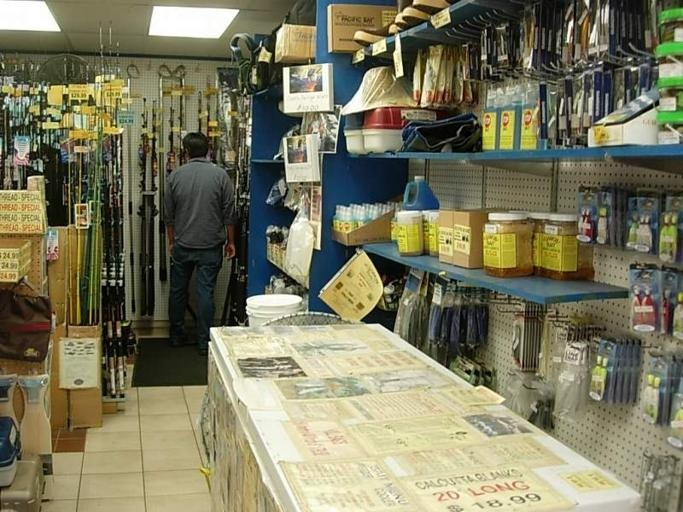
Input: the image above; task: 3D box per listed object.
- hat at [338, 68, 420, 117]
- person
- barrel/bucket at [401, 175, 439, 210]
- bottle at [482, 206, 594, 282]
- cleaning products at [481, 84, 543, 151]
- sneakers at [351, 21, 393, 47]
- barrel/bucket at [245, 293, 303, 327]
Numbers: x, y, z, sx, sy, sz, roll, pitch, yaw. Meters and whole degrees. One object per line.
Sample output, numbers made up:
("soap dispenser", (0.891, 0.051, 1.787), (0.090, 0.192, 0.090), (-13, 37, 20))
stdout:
("hat", (0.281, -0.929, 3.215), (0.396, 0.241, 0.562), (0, 8, 12))
("person", (-1.452, -0.002, 5.884), (0.676, 1.965, 0.332), (4, 10, 14))
("barrel/bucket", (0.414, -0.317, 2.982), (0.187, 0.183, 0.125), (-1, 1, -15))
("bottle", (0.764, -0.005, 2.233), (0.254, 0.237, 0.344), (-1, 4, -40))
("cleaning products", (0.653, -0.522, 2.181), (0.098, 0.261, 0.288), (-2, 12, -17))
("sneakers", (0.148, -1.230, 3.190), (0.161, 0.131, 0.369), (0, 12, -7))
("barrel/bucket", (-0.410, 0.329, 3.514), (0.311, 0.150, 0.368), (-9, 16, -42))
